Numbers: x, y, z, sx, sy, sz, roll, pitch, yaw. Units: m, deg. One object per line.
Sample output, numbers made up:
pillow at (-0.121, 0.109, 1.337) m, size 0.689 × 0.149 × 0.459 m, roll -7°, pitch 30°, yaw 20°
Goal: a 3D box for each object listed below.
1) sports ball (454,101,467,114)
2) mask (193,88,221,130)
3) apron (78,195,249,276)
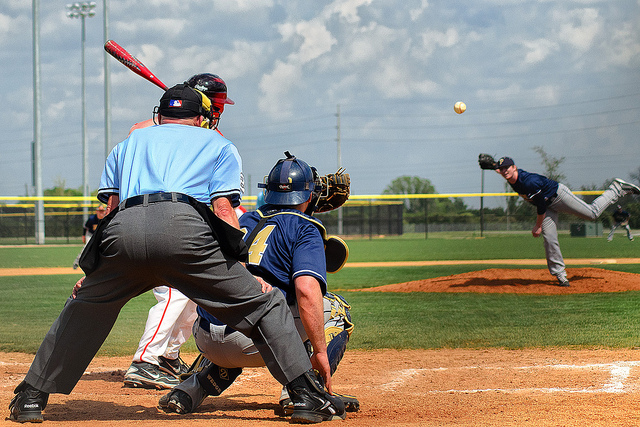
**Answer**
sports ball at (3.394, -2.578, 23.055) m, size 0.205 × 0.261 × 0.281 m, roll -2°, pitch -2°, yaw 13°
mask at (-1.316, -1.196, 11.233) m, size 0.250 × 0.486 × 0.917 m, roll -1°, pitch -2°, yaw -5°
apron at (-1.668, 0.223, 10.384) m, size 1.763 × 0.825 × 0.211 m, roll -1°, pitch -1°, yaw -4°
